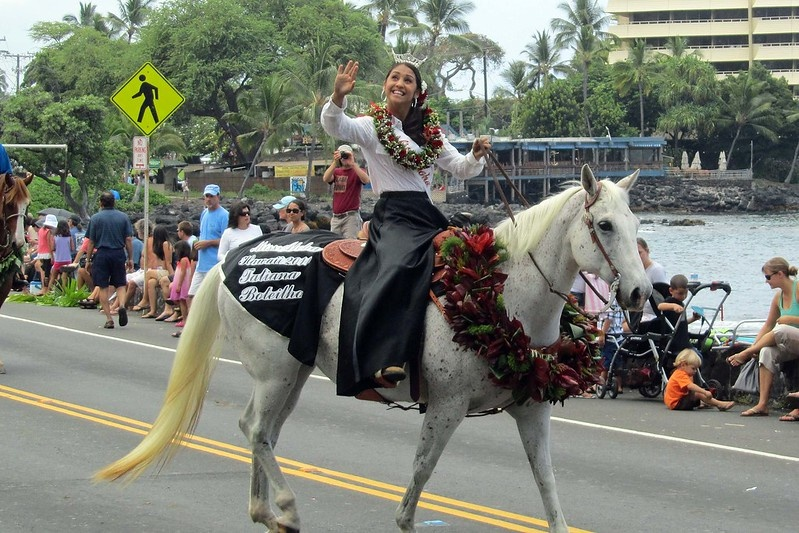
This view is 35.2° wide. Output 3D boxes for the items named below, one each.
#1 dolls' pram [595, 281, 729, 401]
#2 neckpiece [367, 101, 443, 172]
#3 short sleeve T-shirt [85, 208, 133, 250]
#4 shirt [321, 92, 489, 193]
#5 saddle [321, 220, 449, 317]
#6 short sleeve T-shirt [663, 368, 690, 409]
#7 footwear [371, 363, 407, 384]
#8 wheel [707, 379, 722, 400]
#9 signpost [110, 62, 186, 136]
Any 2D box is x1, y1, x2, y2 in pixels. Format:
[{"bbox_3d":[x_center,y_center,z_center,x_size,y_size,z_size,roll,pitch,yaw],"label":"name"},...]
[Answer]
[{"bbox_3d":[5.283,1.448,25.036,2.945,2.052,2.025,-4,1,19],"label":"dolls' pram"},{"bbox_3d":[0.073,-2.001,19.033,1.022,1.100,0.311,-15,-15,-31],"label":"neckpiece"},{"bbox_3d":[-6.845,-0.876,29.200,0.666,0.905,1.221,11,12,42],"label":"short sleeve T-shirt"},{"bbox_3d":[0.004,-1.778,19.318,3.323,1.224,0.909,11,-1,-40],"label":"shirt"},{"bbox_3d":[-0.722,-0.002,19.556,0.624,1.402,1.693,-23,-14,24],"label":"saddle"},{"bbox_3d":[5.432,2.319,24.144,0.615,0.684,0.905,-2,-3,-4],"label":"short sleeve T-shirt"},{"bbox_3d":[-0.127,1.553,18.320,0.397,0.142,0.310,-17,-13,42],"label":"footwear"},{"bbox_3d":[6.112,2.370,24.242,0.147,0.327,0.390,-6,12,-41],"label":"wheel"},{"bbox_3d":[-6.055,-4.059,30.039,1.512,1.740,0.520,9,1,-11],"label":"signpost"}]
